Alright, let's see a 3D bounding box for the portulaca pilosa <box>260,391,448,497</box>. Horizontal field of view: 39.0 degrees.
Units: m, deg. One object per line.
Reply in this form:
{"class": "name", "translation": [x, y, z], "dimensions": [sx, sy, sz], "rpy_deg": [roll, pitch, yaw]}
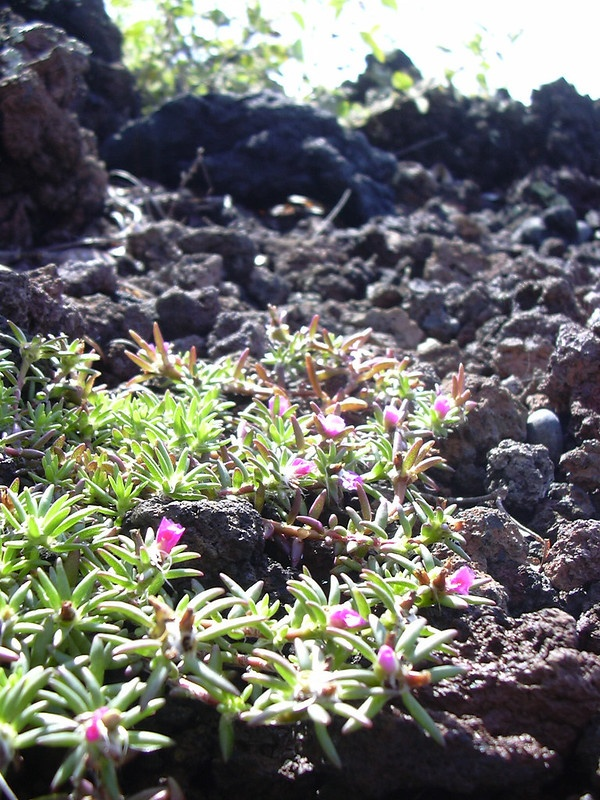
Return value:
{"class": "portulaca pilosa", "translation": [0.152, 0.132, 2.414], "dimensions": [0.417, 0.107, 0.373], "rpy_deg": [8, 21, 6]}

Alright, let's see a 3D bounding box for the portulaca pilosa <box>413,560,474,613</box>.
{"class": "portulaca pilosa", "translation": [0.341, 0.438, 2.016], "dimensions": [0.136, 0.076, 0.119], "rpy_deg": [1, 15, 11]}

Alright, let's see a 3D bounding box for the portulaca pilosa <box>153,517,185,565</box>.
{"class": "portulaca pilosa", "translation": [-0.305, 0.325, 1.969], "dimensions": [0.057, 0.093, 0.136], "rpy_deg": [6, -6, -8]}

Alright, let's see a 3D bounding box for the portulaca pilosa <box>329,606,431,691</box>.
{"class": "portulaca pilosa", "translation": [0.161, 0.521, 1.781], "dimensions": [0.104, 0.098, 0.286], "rpy_deg": [-37, 30, -13]}
